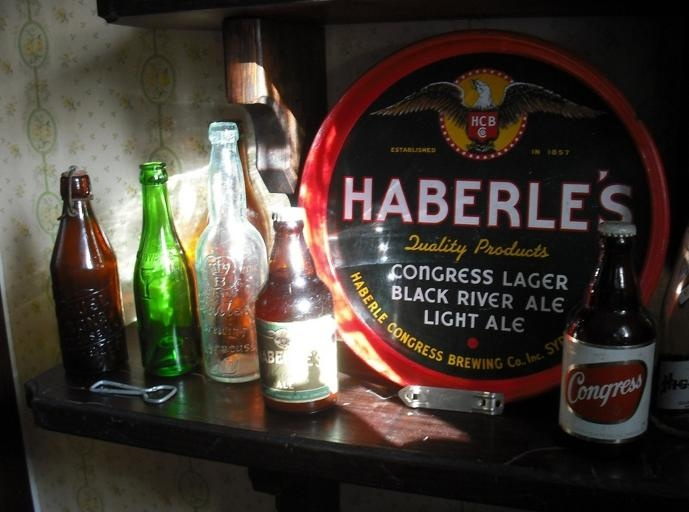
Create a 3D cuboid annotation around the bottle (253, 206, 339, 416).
[{"bbox_3d":[-0.078,0.088,1.071,0.132,0.328,0.072,0,11,-8],"label":"bottle"}]
